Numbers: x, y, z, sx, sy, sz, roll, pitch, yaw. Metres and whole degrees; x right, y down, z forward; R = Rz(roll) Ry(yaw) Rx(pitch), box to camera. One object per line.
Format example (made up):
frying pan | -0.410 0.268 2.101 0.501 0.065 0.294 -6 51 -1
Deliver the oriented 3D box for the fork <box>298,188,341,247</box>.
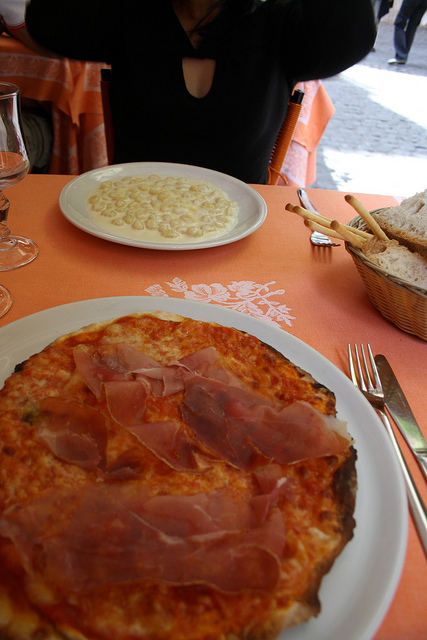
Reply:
fork | 0.278 -0.293 1.420 0.052 0.035 0.231 -8 46 -2
